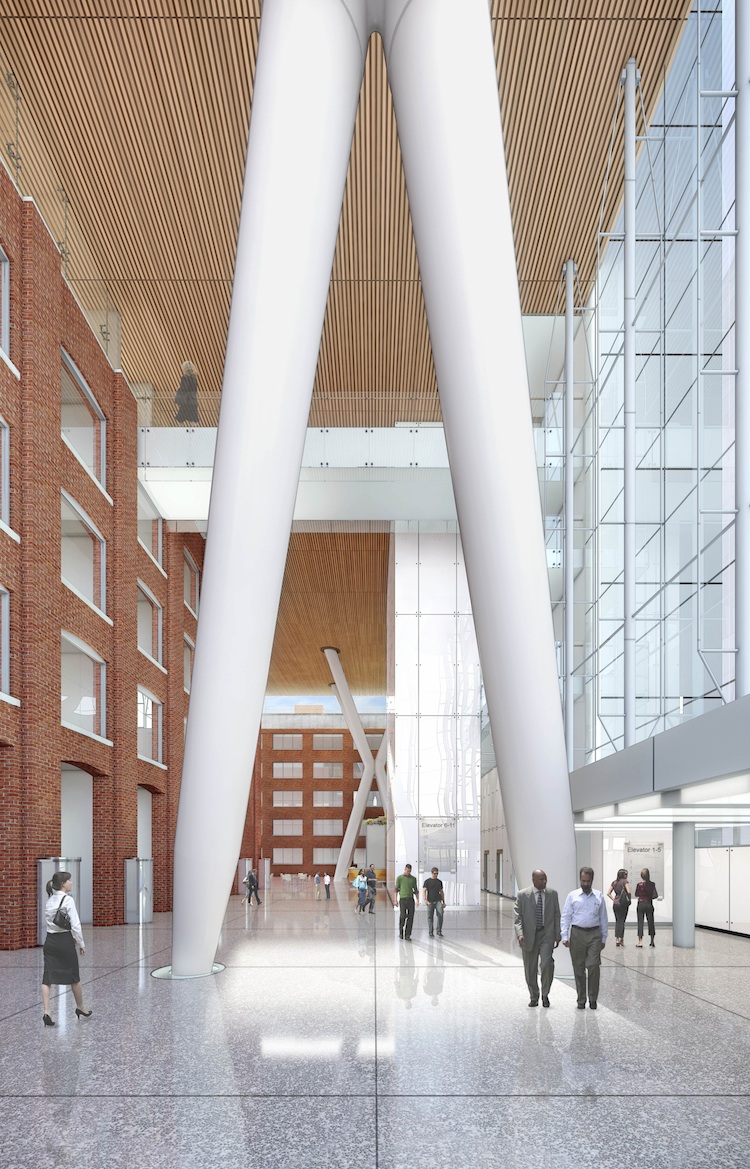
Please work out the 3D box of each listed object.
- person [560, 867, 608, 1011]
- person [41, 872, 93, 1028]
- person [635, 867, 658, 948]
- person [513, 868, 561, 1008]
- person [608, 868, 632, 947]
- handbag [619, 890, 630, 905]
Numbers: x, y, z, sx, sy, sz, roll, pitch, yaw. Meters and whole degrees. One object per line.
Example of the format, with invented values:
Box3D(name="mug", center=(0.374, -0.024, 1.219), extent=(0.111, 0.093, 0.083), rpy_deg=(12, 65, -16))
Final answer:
Box3D(name="person", center=(2.023, 3.438, 7.861), extent=(0.413, 1.308, 0.529), rpy_deg=(-4, -11, 17))
Box3D(name="person", center=(-2.971, 3.494, 7.876), extent=(0.422, 1.332, 1.795), rpy_deg=(3, -15, -21))
Box3D(name="person", center=(5.043, 6.048, 15.194), extent=(0.351, 1.282, 1.362), rpy_deg=(-4, -13, 18))
Box3D(name="person", center=(1.650, 3.573, 8.182), extent=(0.443, 1.296, 0.790), rpy_deg=(-4, -12, 13))
Box3D(name="person", center=(4.653, 6.138, 15.462), extent=(0.362, 1.306, 2.096), rpy_deg=(-4, -15, 15))
Box3D(name="handbag", center=(4.610, 5.865, 15.084), extent=(0.156, 0.322, 0.435), rpy_deg=(-8, -15, 31))
